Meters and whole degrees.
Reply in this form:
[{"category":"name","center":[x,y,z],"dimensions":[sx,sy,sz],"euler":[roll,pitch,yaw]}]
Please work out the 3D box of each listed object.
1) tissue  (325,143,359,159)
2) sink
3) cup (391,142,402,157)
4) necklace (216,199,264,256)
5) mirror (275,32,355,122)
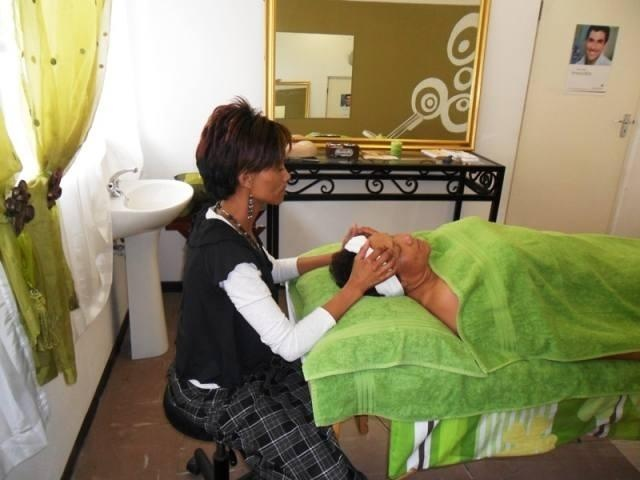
[{"category":"tissue ","center":[0.150,-0.564,3.017],"dimensions":[0.148,0.080,0.119],"euler":[0,25,-5]},{"category":"sink","center":[-0.846,-0.179,2.452],"dimensions":[0.300,0.101,0.406],"euler":[3,24,0]},{"category":"cup","center":[0.511,-0.605,3.195],"dimensions":[0.086,0.110,0.092],"euler":[0,25,0]},{"category":"necklace","center":[-0.284,-0.042,1.656],"dimensions":[0.179,0.031,0.142],"euler":[44,4,-5]},{"category":"mirror","center":[-0.050,-1.091,3.072],"dimensions":[0.665,0.724,0.037],"euler":[0,10,-10]}]
